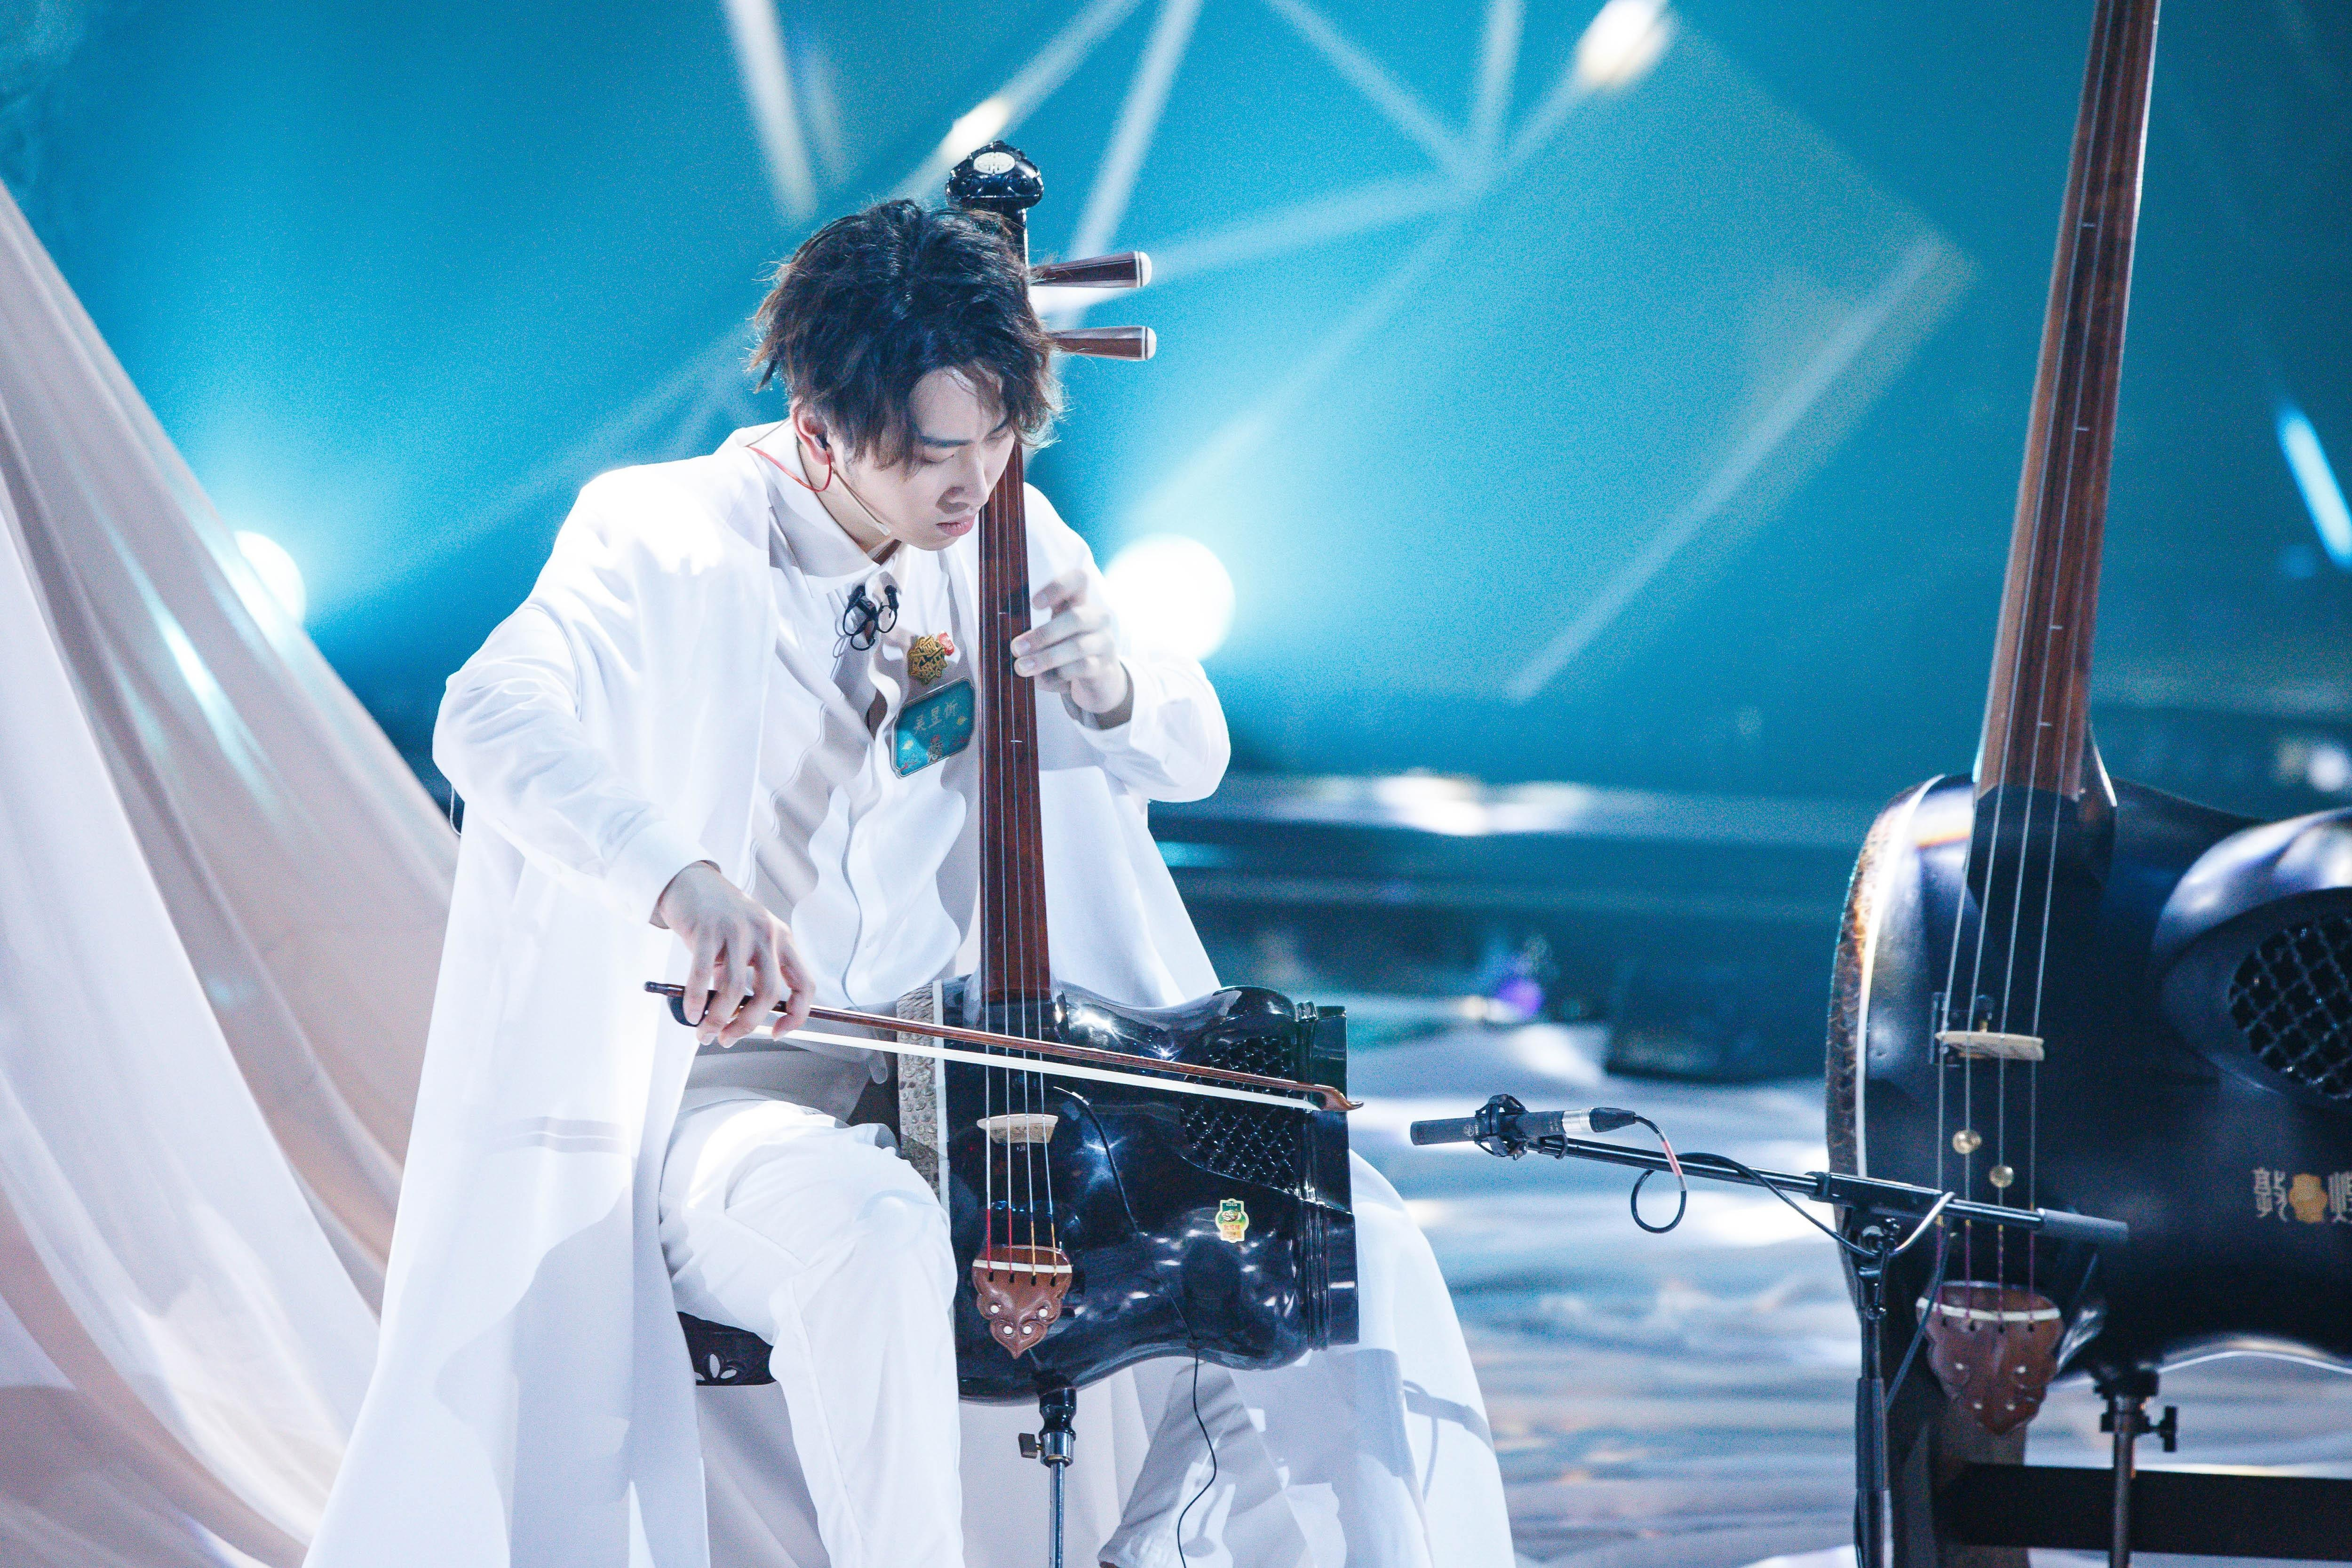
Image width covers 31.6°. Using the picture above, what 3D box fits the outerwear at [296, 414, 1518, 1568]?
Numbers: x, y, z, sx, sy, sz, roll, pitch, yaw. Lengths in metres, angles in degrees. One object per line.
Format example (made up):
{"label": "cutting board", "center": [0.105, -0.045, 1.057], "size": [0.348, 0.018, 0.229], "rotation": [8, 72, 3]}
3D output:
{"label": "outerwear", "center": [-0.758, 0.327, 7.016], "size": [1.675, 2.159, 0.708], "rotation": [0, -11, -19]}
